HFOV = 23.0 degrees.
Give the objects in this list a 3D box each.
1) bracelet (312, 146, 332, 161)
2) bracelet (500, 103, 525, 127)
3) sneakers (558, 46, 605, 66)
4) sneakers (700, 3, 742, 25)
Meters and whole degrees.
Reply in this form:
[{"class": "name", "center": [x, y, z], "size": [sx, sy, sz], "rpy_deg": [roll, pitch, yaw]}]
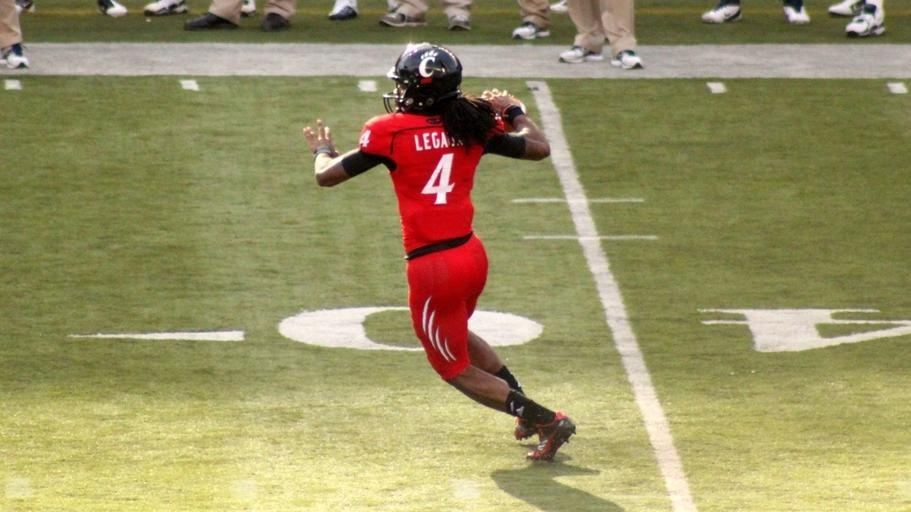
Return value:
[{"class": "bracelet", "center": [-1.101, -0.920, 19.796], "size": [0.134, 0.141, 0.044], "rpy_deg": [5, 79, -30]}, {"class": "bracelet", "center": [0.526, -1.270, 20.029], "size": [0.212, 0.194, 0.169], "rpy_deg": [32, 56, 19]}, {"class": "sneakers", "center": [1.452, -2.315, 25.814], "size": [0.573, 0.198, 0.164], "rpy_deg": [-3, 49, -26]}, {"class": "sneakers", "center": [3.249, -3.008, 27.780], "size": [0.645, 0.228, 0.150], "rpy_deg": [-8, 70, -6]}]
